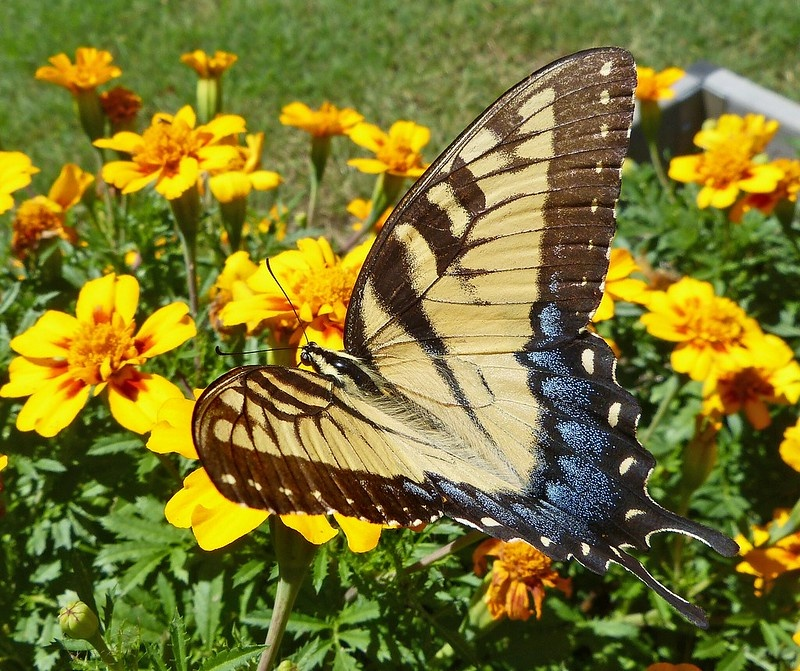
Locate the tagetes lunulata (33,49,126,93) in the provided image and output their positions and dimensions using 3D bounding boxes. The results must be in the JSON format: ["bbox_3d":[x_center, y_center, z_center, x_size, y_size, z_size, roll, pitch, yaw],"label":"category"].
[{"bbox_3d":[-0.974,-0.850,2.788,0.274,0.094,0.246,-6,30,4],"label":"tagetes lunulata"}]
